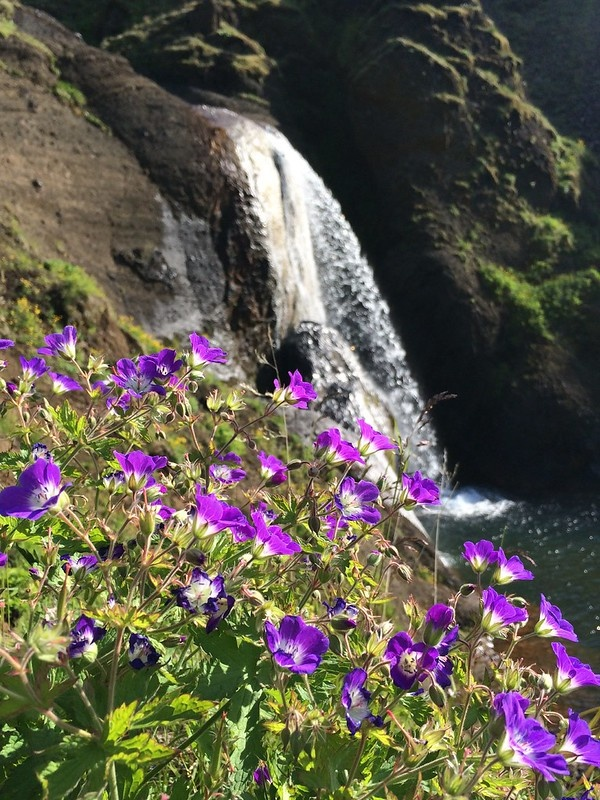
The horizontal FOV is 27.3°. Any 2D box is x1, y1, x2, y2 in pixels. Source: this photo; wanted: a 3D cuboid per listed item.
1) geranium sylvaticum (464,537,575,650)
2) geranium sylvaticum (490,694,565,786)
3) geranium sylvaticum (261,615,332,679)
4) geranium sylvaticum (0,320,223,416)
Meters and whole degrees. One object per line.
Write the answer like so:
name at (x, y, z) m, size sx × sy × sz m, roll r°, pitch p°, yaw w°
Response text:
geranium sylvaticum at (2.021, 1.830, 11.501) m, size 1.046 × 0.840 × 0.594 m, roll 8°, pitch 23°, yaw -8°
geranium sylvaticum at (2.053, 3.031, 11.054) m, size 0.734 × 0.328 × 0.686 m, roll 13°, pitch 49°, yaw -31°
geranium sylvaticum at (0.083, 2.234, 11.421) m, size 0.872 × 0.530 × 0.929 m, roll 8°, pitch -9°, yaw 7°
geranium sylvaticum at (-1.784, -0.251, 11.896) m, size 1.638 × 0.663 × 1.068 m, roll -1°, pitch 1°, yaw -11°
